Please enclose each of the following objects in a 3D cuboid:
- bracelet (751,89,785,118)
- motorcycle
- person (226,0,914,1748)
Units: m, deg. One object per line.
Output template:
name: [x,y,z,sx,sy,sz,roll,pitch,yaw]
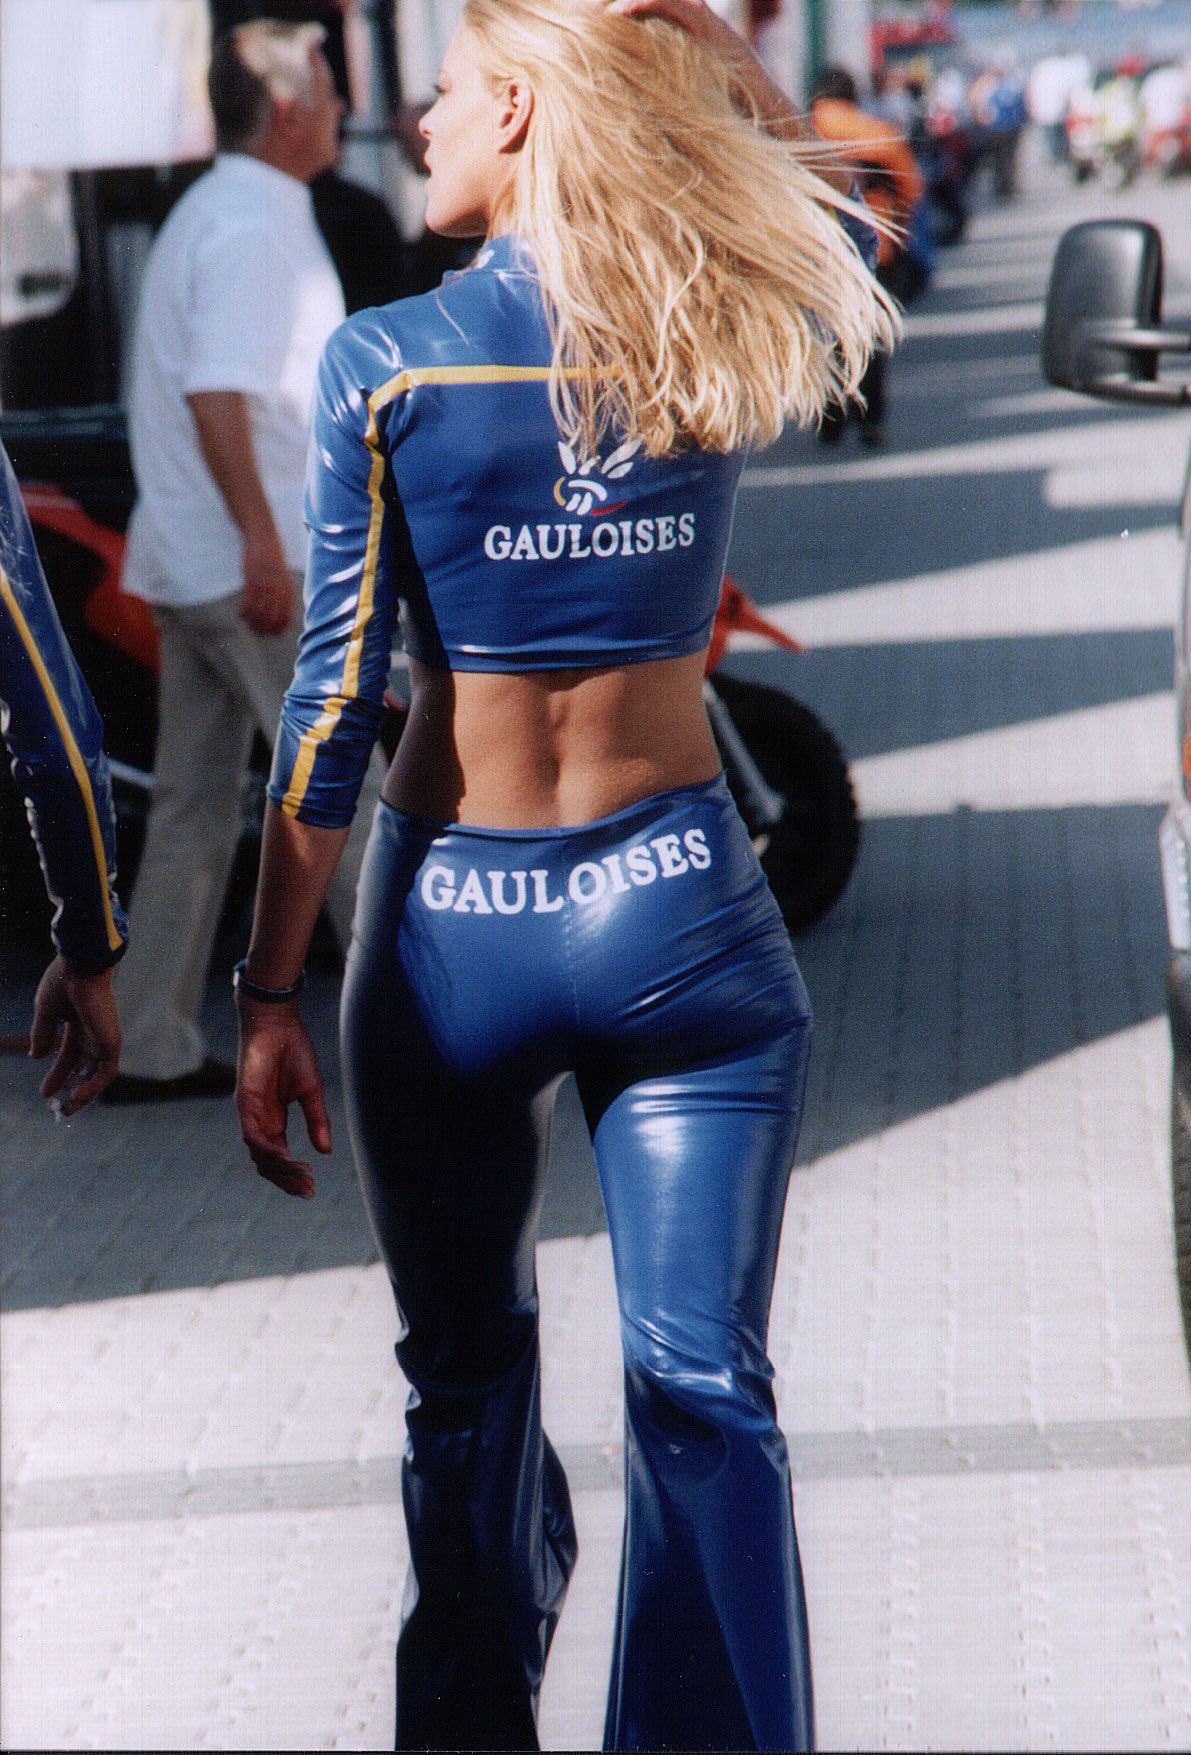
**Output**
bracelet: [0.163,-0.731,1.906,0.026,0.007,0.030,-18,45,24]
motorcycle: [-0.376,-0.395,5.324,2.175,1.564,1.115,-5,-4,-8]
person: [-0.044,0.111,1.696,0.499,1.625,0.367,1,10,19]
